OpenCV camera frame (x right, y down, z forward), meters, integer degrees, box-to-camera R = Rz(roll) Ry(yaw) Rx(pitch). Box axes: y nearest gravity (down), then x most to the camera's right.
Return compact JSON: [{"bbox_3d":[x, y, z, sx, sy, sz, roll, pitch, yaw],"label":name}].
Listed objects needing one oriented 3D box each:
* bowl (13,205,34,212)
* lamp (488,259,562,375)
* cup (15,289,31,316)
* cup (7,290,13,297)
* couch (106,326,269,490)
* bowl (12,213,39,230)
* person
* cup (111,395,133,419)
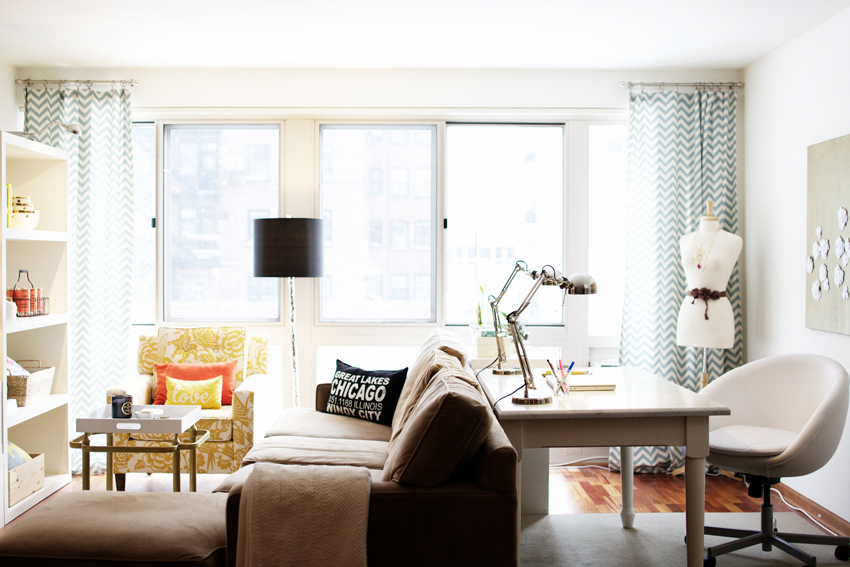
[{"bbox_3d":[-2.939,-0.553,5.035,0.044,0.059,0.130,7,13,31],"label":"bowl"},{"bbox_3d":[0.686,0.222,4.442,0.540,0.721,0.515,-1,10,6],"label":"lamp"},{"bbox_3d":[-2.967,0.135,5.091,0.110,0.188,0.104,0,11,0],"label":"cup"},{"bbox_3d":[-3.056,0.072,5.060,0.039,0.063,0.088,-6,13,-29],"label":"cup"},{"bbox_3d":[-1.786,0.928,5.551,1.097,1.198,1.173,0,-6,-5],"label":"couch"},{"bbox_3d":[-2.935,-0.460,5.034,0.141,0.085,0.142,0,-6,0],"label":"bowl"},{"bbox_3d":[2.143,-0.049,5.233,0.430,1.135,0.271,4,12,20],"label":"person"},{"bbox_3d":[-2.044,0.822,4.637,0.144,0.185,0.145,0,-5,0],"label":"cup"}]
